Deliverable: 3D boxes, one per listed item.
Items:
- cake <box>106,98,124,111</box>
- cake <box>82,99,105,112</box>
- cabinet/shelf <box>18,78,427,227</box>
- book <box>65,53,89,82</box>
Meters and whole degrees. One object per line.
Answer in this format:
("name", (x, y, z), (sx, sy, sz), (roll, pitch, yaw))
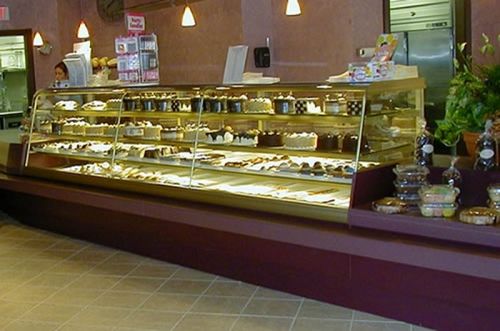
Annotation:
("cake", (-1.619, -0.727, 4.668), (0.184, 0.066, 0.168), (0, 15, -6))
("cake", (-1.934, -0.729, 4.861), (0.169, 0.065, 0.216), (-2, 4, -42))
("cabinet/shelf", (-0.509, -0.241, 4.156), (4.115, 1.224, 0.662), (3, 9, 27))
("book", (-2.429, -1.333, 5.475), (0.364, 0.457, 0.143), (0, 8, 10))
